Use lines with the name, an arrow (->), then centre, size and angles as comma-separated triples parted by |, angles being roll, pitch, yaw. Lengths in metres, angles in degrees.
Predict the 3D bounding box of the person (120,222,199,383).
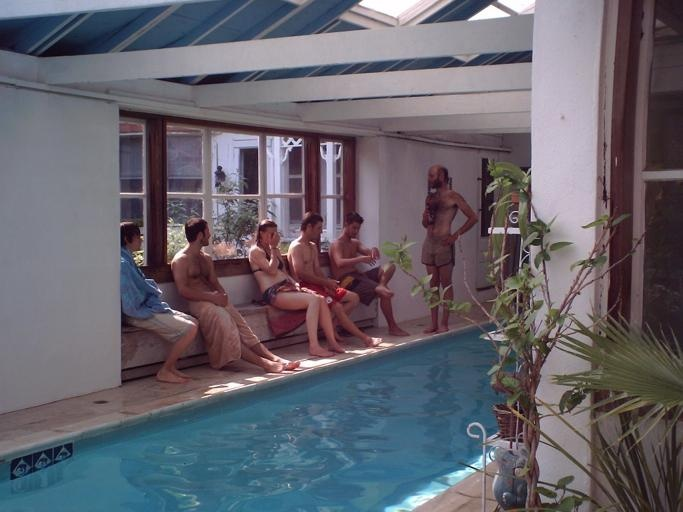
person -> -2.018, 0.492, 5.461 | 0.915, 1.665, 0.404 | 3, 6, 14

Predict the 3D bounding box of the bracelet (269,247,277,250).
bracelet -> -0.914, -0.102, 6.646 | 0.064, 0.038, 0.045 | -3, -3, 10
